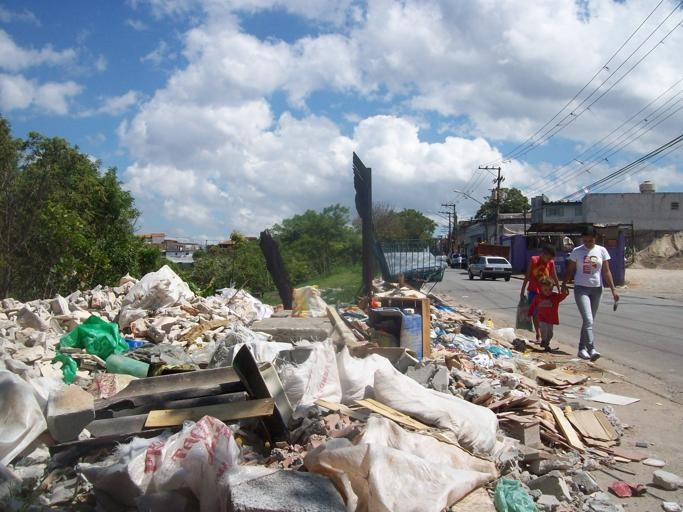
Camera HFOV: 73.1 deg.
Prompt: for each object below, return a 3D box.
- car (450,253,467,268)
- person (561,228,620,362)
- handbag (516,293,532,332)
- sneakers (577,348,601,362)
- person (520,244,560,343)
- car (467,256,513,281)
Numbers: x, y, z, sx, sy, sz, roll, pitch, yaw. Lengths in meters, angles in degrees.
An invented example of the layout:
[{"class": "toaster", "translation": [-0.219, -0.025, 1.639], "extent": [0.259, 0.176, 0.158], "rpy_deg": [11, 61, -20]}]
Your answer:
[{"class": "car", "translation": [12.703, 0.520, 49.766], "extent": [1.318, 1.275, 2.504], "rpy_deg": [-1, -11, -11]}, {"class": "person", "translation": [4.128, 0.611, 7.689], "extent": [0.782, 1.581, 0.946], "rpy_deg": [-3, 1, 38]}, {"class": "handbag", "translation": [3.460, 1.046, 8.651], "extent": [0.300, 0.705, 0.219], "rpy_deg": [2, 25, 29]}, {"class": "sneakers", "translation": [3.963, 1.611, 7.456], "extent": [0.150, 0.169, 0.401], "rpy_deg": [1, -6, -35]}, {"class": "person", "translation": [3.612, 0.648, 8.314], "extent": [0.762, 1.621, 0.552], "rpy_deg": [2, -9, 31]}, {"class": "car", "translation": [8.640, 0.733, 27.576], "extent": [1.308, 0.881, 2.632], "rpy_deg": [-1, 3, -3]}]
